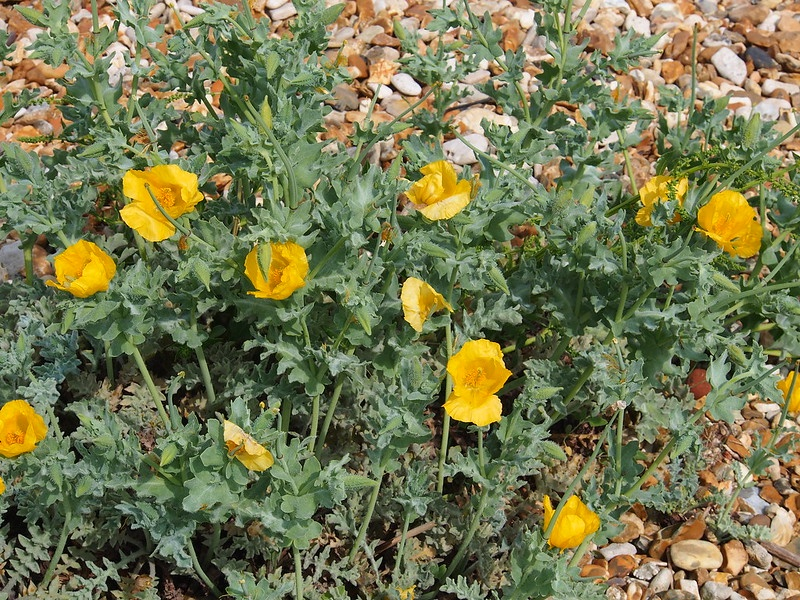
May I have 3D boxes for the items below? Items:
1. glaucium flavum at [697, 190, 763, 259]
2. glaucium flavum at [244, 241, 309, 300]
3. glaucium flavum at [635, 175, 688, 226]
[{"bbox_3d":[1.037,-0.244,2.407,0.158,0.240,0.133,9,22,35],"label":"glaucium flavum"},{"bbox_3d":[-0.333,-0.082,2.068,0.163,0.147,0.124,-6,60,-8],"label":"glaucium flavum"},{"bbox_3d":[0.851,-0.335,2.540,0.139,0.201,0.122,5,27,29],"label":"glaucium flavum"}]
